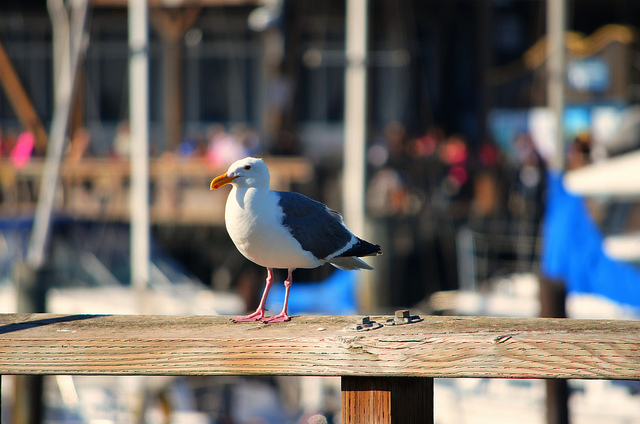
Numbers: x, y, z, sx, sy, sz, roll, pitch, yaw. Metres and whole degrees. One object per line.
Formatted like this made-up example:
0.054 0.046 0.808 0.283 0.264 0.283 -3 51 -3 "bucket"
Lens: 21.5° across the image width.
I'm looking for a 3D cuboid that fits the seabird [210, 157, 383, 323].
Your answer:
-0.241 0.287 18.316 2.059 1.799 0.972 0 2 -33 "seabird"
